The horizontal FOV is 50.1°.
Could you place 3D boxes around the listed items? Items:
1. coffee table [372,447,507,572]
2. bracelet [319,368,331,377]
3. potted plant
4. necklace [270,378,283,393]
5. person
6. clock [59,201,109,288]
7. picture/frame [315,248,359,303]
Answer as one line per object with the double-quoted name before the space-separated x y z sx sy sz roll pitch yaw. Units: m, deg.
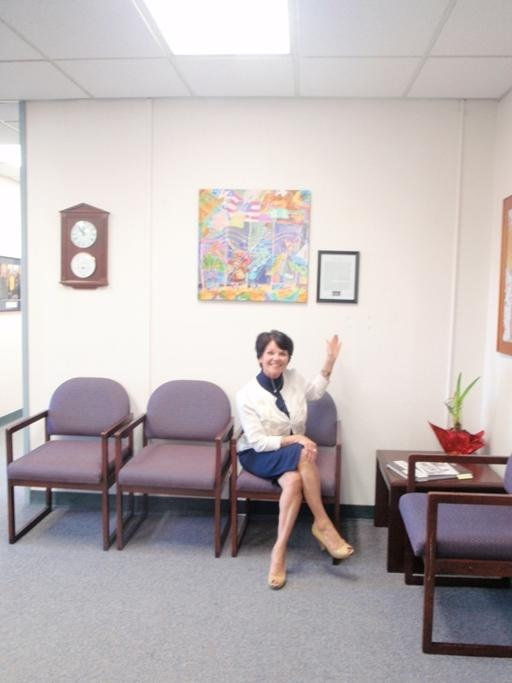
"coffee table" 0.958 0.801 2.974 0.537 0.432 0.808 -1 6 -2
"bracelet" 0.406 0.179 3.164 0.046 0.036 0.046 -1 3 3
"potted plant" 1.168 0.446 3.136 0.267 0.476 0.502 3 7 24
"necklace" 0.110 0.239 2.973 0.056 0.059 0.078 0 43 1
"person" 0.210 0.560 2.897 0.601 1.204 0.677 0 6 -5
"clock" -1.091 -0.619 3.467 0.287 0.493 0.077 2 6 12
"picture/frame" 0.508 -0.405 3.350 0.305 0.378 0.026 2 2 2
